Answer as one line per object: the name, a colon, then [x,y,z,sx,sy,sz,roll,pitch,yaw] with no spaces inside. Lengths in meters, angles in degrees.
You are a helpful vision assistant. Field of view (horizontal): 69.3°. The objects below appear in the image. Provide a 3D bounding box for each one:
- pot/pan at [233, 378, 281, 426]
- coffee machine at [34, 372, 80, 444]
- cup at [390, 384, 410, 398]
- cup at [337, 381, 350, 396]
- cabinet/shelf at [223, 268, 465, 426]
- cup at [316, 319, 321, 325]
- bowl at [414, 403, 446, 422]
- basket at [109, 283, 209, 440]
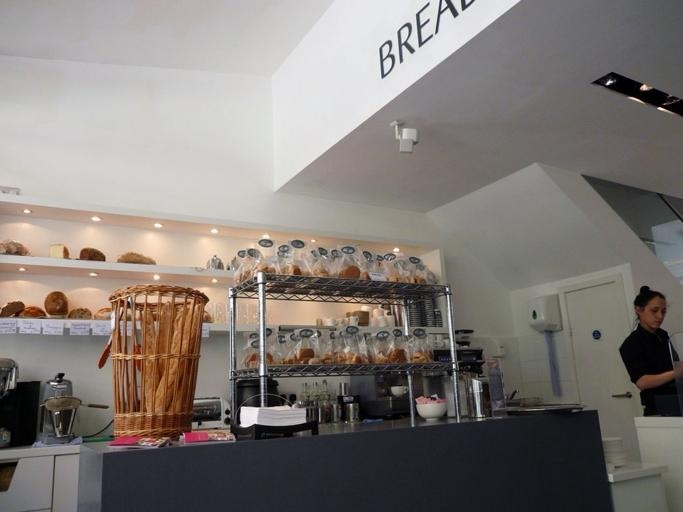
pot/pan: [-0.580,1.133,3.780,0.406,0.390,0.406,10,-19,-35]
coffee machine: [-2.036,1.076,3.542,0.220,0.475,0.570,8,-19,-30]
cup: [0.485,1.131,4.192,0.151,0.095,0.181,0,-26,-3]
cup: [0.019,1.229,4.575,0.106,0.115,0.106,0,-11,0]
cabinet/shelf: [-0.010,0.554,2.875,1.280,0.773,0.766,4,-17,-19]
cup: [-0.228,0.639,4.778,0.043,0.050,0.043,-1,-15,0]
bowl: [0.507,0.873,2.794,0.149,0.093,0.234,-4,-17,7]
basket: [-0.838,0.494,2.193,0.445,0.604,0.456,-5,-15,19]
